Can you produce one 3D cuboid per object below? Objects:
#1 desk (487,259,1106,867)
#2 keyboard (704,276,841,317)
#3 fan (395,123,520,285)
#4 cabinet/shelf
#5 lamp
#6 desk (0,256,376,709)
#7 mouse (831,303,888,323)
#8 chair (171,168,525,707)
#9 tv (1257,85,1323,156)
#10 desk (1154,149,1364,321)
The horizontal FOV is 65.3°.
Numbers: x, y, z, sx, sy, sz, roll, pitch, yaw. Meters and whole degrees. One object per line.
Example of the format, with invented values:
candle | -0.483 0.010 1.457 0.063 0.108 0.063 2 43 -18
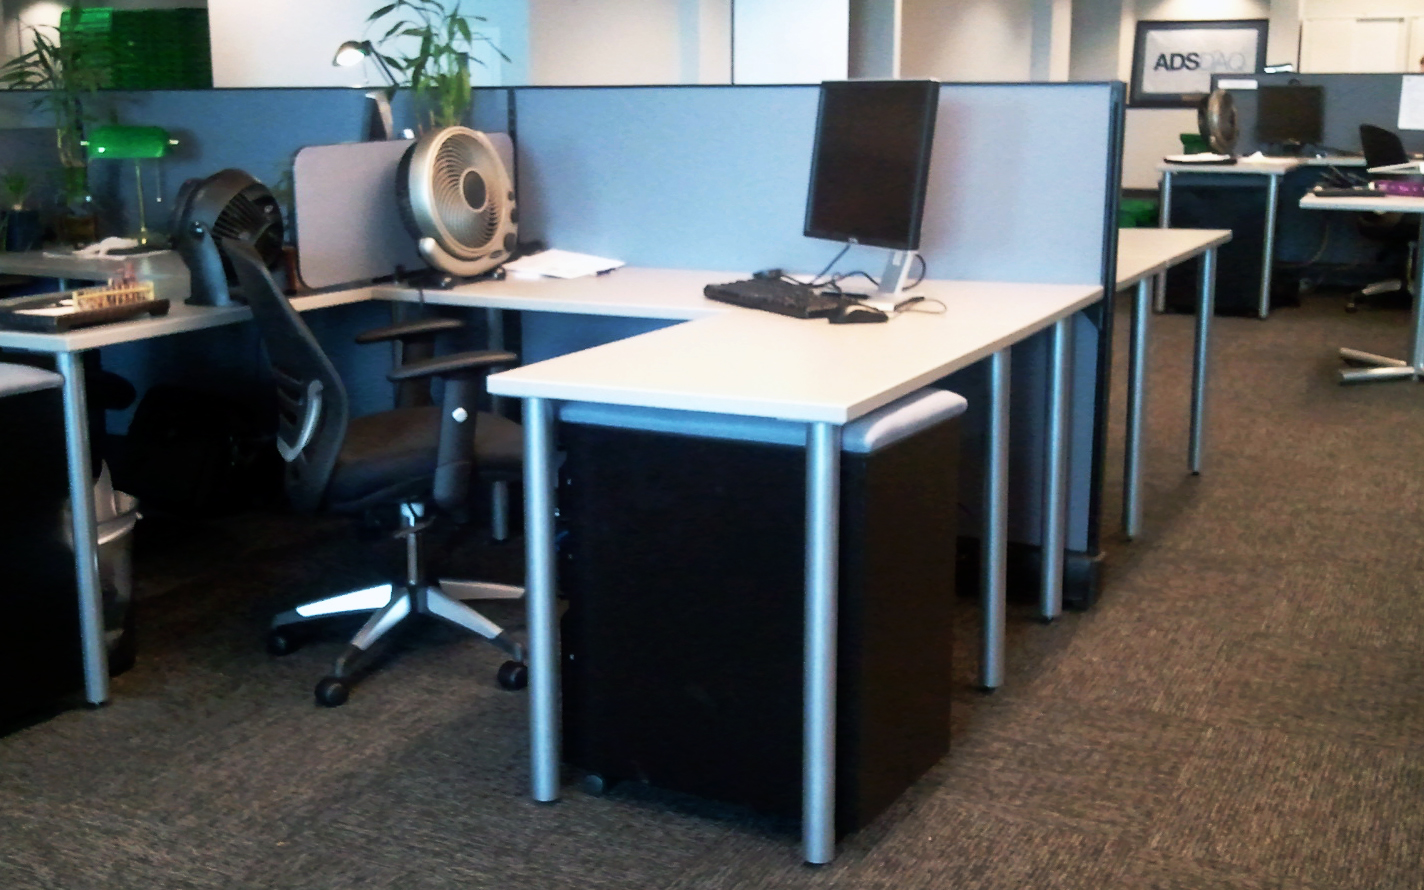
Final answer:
desk | 0.247 0.332 2.890 0.707 0.723 1.555 4 12 25
keyboard | 0.183 -0.443 3.353 0.306 0.053 0.181 13 24 37
fan | -0.859 -0.823 3.840 0.155 0.478 0.526 3 19 38
cabinet/shelf | 0.162 0.332 3.282 1.156 1.297 0.961 4 9 28
lamp | -2.285 -1.054 4.428 0.355 0.416 0.285 10 24 28
desk | -1.769 0.145 3.345 0.313 1.032 0.673 8 23 24
mouse | 0.431 -0.373 3.200 0.112 0.034 0.076 -2 18 2
chair | -0.983 -0.039 3.479 1.087 1.379 0.871 -2 2 -31
tv | 4.182 -2.355 8.000 0.589 0.548 0.297 1 4 29
desk | 3.630 -1.392 7.327 0.932 0.749 1.623 4 11 28
